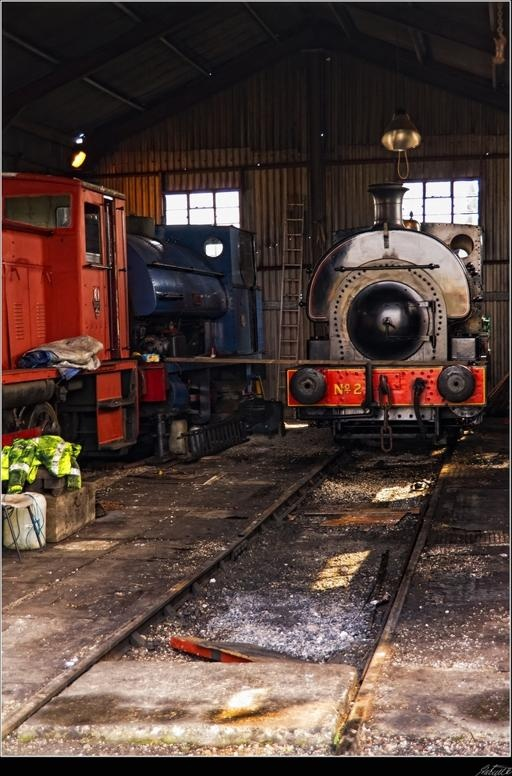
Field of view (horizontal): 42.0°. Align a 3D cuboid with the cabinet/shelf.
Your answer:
[{"bbox_3d":[-2.522,-0.952,8.608,1.088,3.630,2.904,0,4,11],"label":"cabinet/shelf"}]

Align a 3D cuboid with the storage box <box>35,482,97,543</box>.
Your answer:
[{"bbox_3d":[-1.802,1.181,6.433,0.153,0.432,0.745,0,4,14],"label":"storage box"}]

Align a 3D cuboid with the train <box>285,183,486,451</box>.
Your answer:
[{"bbox_3d":[1.835,-1.025,9.167,2.826,3.610,2.153,-1,4,0],"label":"train"}]

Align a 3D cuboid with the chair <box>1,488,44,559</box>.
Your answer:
[{"bbox_3d":[-2.042,1.153,5.751,0.369,0.576,0.661,-2,4,-12],"label":"chair"}]
